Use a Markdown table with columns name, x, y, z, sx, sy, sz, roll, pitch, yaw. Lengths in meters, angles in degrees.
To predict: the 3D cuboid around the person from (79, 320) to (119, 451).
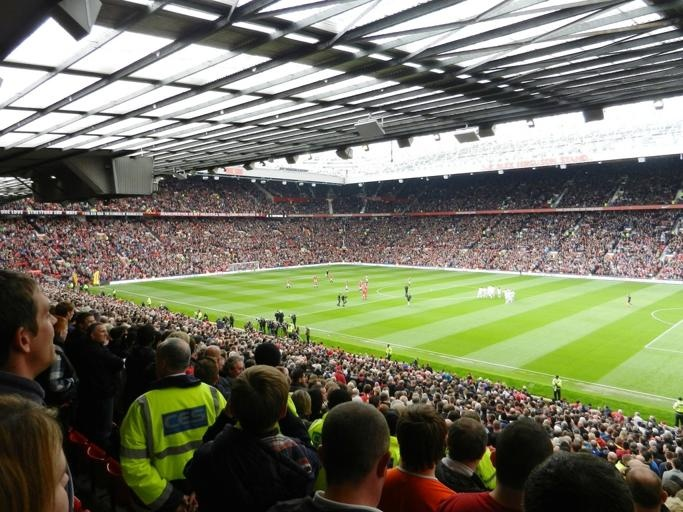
| name | x | y | z | sx | sy | sz | roll | pitch | yaw |
| --- | --- | --- | --- | --- | --- | --- | --- | --- | --- |
| person | -3.734 | 2.017 | 7.964 | 0.533 | 1.709 | 0.705 | -2 | 0 | -37 |

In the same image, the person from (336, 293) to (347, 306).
| name | x | y | z | sx | sy | sz | roll | pitch | yaw |
| --- | --- | --- | --- | --- | --- | --- | --- | --- | --- |
| person | -0.029 | 3.202 | 37.215 | 0.864 | 0.940 | 0.822 | -1 | 6 | 13 |
